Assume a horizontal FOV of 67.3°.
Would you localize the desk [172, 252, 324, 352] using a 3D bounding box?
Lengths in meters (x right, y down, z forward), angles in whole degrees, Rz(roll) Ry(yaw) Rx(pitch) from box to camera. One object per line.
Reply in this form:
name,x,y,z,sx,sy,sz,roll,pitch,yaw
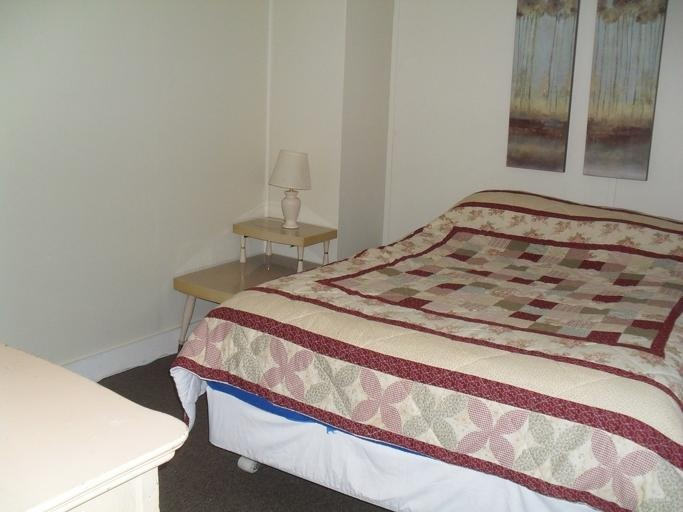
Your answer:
desk,-0.618,0.169,3.197,0.640,0.385,0.892,14,20,35
